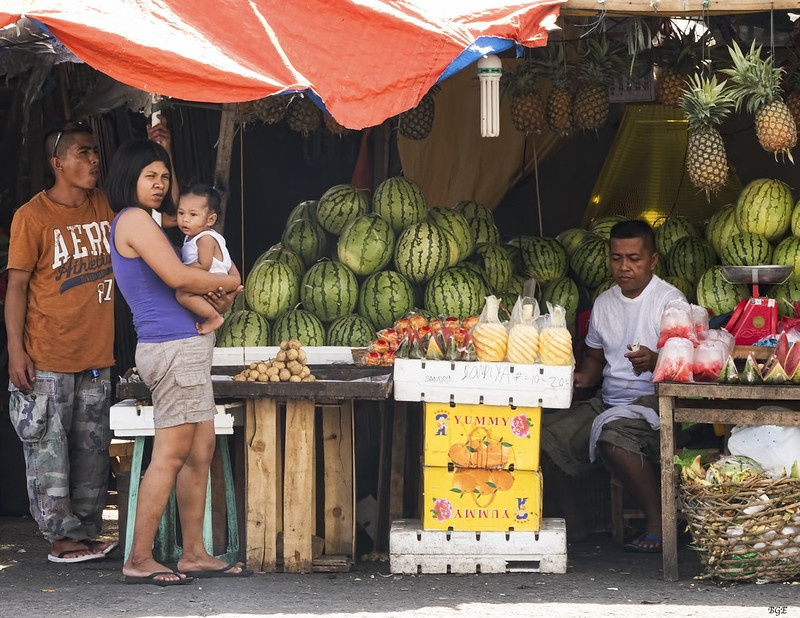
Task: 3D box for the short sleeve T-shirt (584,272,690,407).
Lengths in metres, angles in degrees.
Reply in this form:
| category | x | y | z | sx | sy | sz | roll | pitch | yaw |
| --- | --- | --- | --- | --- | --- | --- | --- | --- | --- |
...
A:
| category | x | y | z | sx | sy | sz | roll | pitch | yaw |
| --- | --- | --- | --- | --- | --- | --- | --- | --- | --- |
| short sleeve T-shirt | 1.373 | 0.209 | 7.435 | 0.400 | 0.906 | 0.760 | 3 | -1 | -38 |

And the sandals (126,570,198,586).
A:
| category | x | y | z | sx | sy | sz | roll | pitch | yaw |
| --- | --- | --- | --- | --- | --- | --- | --- | --- | --- |
| sandals | -1.266 | 1.422 | 6.739 | 0.275 | 0.069 | 0.121 | 0 | -6 | 0 |

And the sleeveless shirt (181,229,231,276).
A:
| category | x | y | z | sx | sy | sz | roll | pitch | yaw |
| --- | --- | --- | --- | --- | --- | --- | --- | --- | --- |
| sleeveless shirt | -1.034 | -0.301 | 6.887 | 0.261 | 0.257 | 0.199 | 21 | 3 | -17 |

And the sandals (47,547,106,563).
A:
| category | x | y | z | sx | sy | sz | roll | pitch | yaw |
| --- | --- | --- | --- | --- | --- | --- | --- | --- | --- |
| sandals | -1.833 | 1.402 | 7.243 | 0.225 | 0.060 | 0.112 | -2 | -4 | 11 |

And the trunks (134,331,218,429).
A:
| category | x | y | z | sx | sy | sz | roll | pitch | yaw |
| --- | --- | --- | --- | --- | --- | --- | --- | --- | --- |
| trunks | -1.112 | 0.392 | 6.837 | 0.556 | 0.520 | 0.419 | -10 | -8 | 11 |

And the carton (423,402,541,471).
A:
| category | x | y | z | sx | sy | sz | roll | pitch | yaw |
| --- | --- | --- | --- | --- | --- | --- | --- | --- | --- |
| carton | 0.475 | 0.628 | 7.155 | 0.535 | 0.310 | 0.381 | 2 | -6 | 4 |

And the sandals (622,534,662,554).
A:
| category | x | y | z | sx | sy | sz | roll | pitch | yaw |
| --- | --- | --- | --- | --- | --- | --- | --- | --- | --- |
| sandals | 1.368 | 1.335 | 7.236 | 0.203 | 0.075 | 0.087 | 2 | 1 | 9 |

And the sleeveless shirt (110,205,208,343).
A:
| category | x | y | z | sx | sy | sz | roll | pitch | yaw |
| --- | --- | --- | --- | --- | --- | --- | --- | --- | --- |
| sleeveless shirt | -1.119 | -0.102 | 6.691 | 0.365 | 0.641 | 0.479 | 2 | -41 | 7 |

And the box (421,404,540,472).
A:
| category | x | y | z | sx | sy | sz | roll | pitch | yaw |
| --- | --- | --- | --- | --- | --- | --- | --- | --- | --- |
| box | 0.539 | 0.740 | 7.352 | 0.562 | 0.441 | 0.791 | 3 | -5 | 12 |

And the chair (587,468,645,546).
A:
| category | x | y | z | sx | sy | sz | roll | pitch | yaw |
| --- | --- | --- | --- | --- | --- | --- | --- | --- | --- |
| chair | 1.300 | 1.224 | 7.686 | 0.342 | 0.520 | 0.358 | 3 | -26 | -11 |

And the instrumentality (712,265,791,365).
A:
| category | x | y | z | sx | sy | sz | roll | pitch | yaw |
| --- | --- | --- | --- | --- | --- | --- | --- | --- | --- |
| instrumentality | 2.038 | -0.019 | 7.319 | 0.393 | 0.461 | 0.294 | -3 | 2 | 0 |
